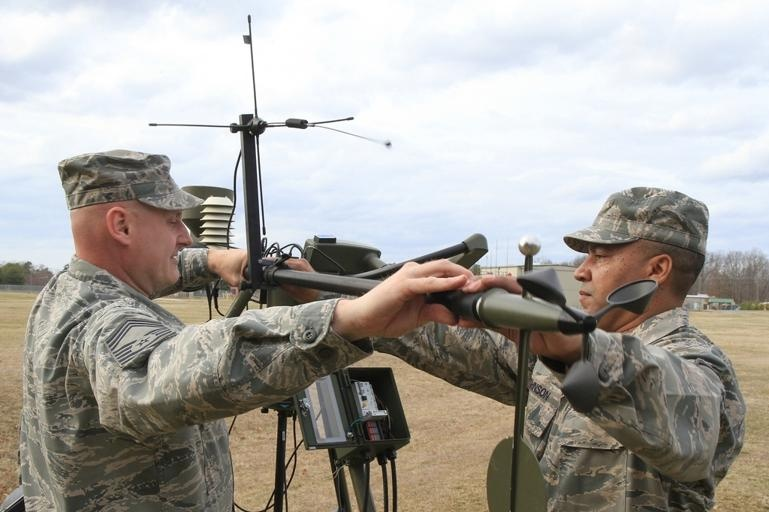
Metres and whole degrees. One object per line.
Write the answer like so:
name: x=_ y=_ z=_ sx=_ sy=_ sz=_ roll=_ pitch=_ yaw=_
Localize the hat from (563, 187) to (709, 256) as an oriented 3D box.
hat: x=1.563 y=-0.177 z=4.708 sx=0.769 sy=0.279 sz=0.467 roll=3 pitch=-2 yaw=11
